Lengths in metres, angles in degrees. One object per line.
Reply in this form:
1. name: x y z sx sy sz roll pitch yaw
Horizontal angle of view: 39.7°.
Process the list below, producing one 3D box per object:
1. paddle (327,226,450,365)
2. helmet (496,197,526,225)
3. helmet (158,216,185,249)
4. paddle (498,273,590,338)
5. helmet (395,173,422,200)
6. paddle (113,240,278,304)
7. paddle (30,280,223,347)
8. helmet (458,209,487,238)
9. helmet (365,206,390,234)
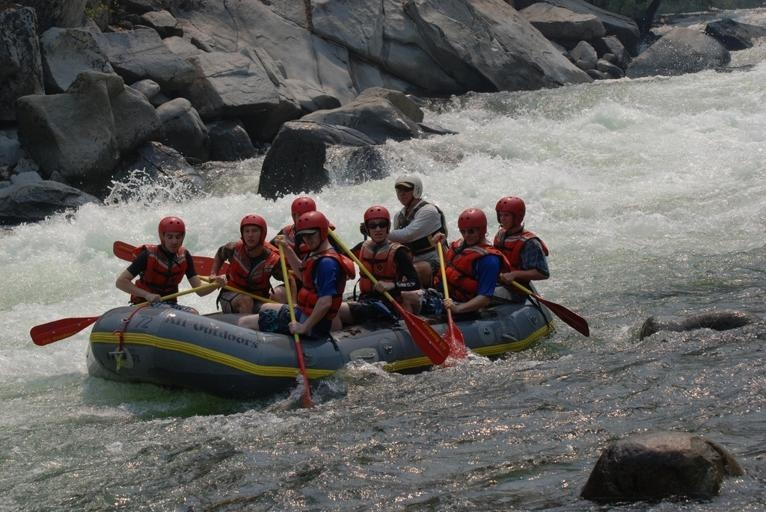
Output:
1. paddle: -0.094 0.517 15.710 0.259 3.408 0.453 -33 32 25
2. helmet: 2.068 -0.728 17.191 0.437 0.445 0.235 -6 7 -2
3. helmet: -3.256 -0.347 16.462 0.377 0.523 0.209 -8 7 -11
4. paddle: 2.608 0.845 17.457 2.032 0.256 0.107 26 23 1
5. helmet: 0.452 -1.165 17.459 0.485 0.294 0.338 -11 13 -33
6. paddle: -2.954 0.281 16.938 3.556 0.399 0.354 13 -7 -6
7. paddle: -4.067 0.923 16.792 3.987 0.355 0.221 -12 21 -4
8. helmet: 1.415 -0.532 16.857 0.392 0.359 0.465 -4 -22 24
9. helmet: -0.102 -0.605 16.456 0.340 0.330 0.388 -2 -8 -1
